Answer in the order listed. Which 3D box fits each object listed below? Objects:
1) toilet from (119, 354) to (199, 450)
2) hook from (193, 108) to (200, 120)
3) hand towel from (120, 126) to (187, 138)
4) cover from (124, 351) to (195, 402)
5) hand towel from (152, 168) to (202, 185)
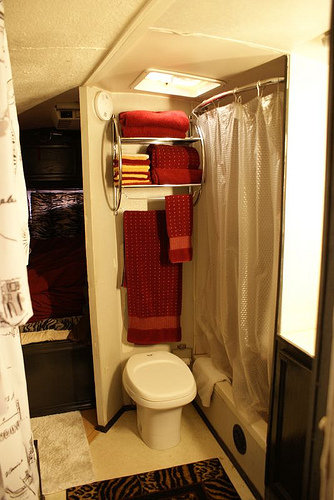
[{"bbox_3d":[-0.044,0.907,2.206,0.370,0.415,0.522,-5,10,-25],"label":"toilet"},{"bbox_3d":[0.180,-0.834,2.274,0.049,0.074,0.023,-1,10,7],"label":"hook"},{"bbox_3d":[-0.090,-0.661,2.166,0.328,0.079,0.227,-6,13,-25],"label":"hand towel"},{"bbox_3d":[-0.045,0.752,2.158,0.383,0.123,0.631,-3,7,-14],"label":"cover"},{"bbox_3d":[0.056,-0.445,2.224,0.302,0.103,0.178,-5,14,-28],"label":"hand towel"}]
